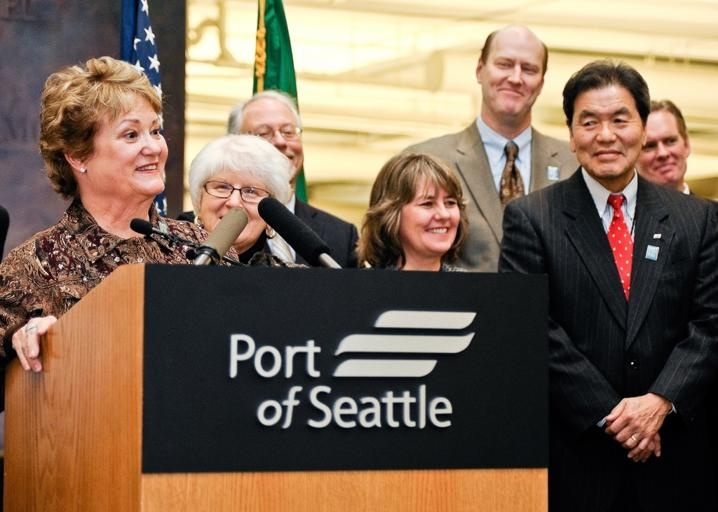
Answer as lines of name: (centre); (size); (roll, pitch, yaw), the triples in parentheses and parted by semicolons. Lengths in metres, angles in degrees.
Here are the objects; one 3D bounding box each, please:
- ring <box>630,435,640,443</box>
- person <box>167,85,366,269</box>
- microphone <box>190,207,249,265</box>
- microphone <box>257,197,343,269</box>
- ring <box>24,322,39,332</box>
ring: (1.119, 0.741, 4.082); (0.029, 0.016, 0.042); (0, -2, 21)
person: (-0.492, -0.413, 4.976); (0.935, 1.010, 0.253); (8, -22, -33)
microphone: (-0.431, -0.061, 3.158); (0.126, 0.178, 0.322); (2, 5, 10)
microphone: (-0.243, -0.085, 4.100); (0.082, 0.087, 0.495); (2, 36, -41)
ring: (-1.140, 0.247, 3.506); (0.034, 0.012, 0.035); (-2, 41, 1)
